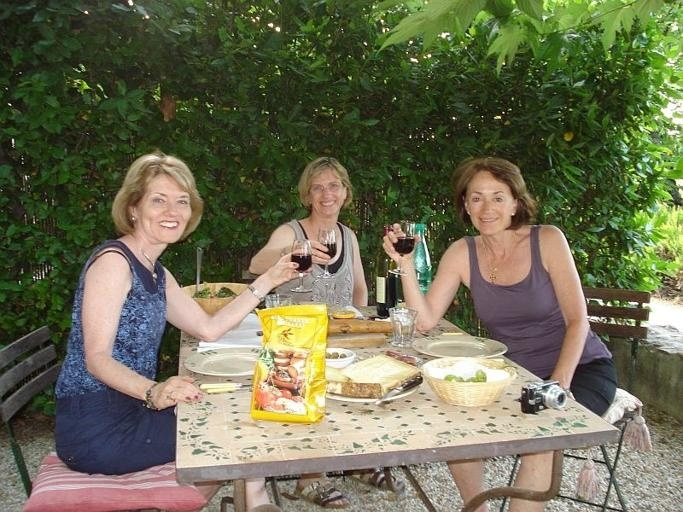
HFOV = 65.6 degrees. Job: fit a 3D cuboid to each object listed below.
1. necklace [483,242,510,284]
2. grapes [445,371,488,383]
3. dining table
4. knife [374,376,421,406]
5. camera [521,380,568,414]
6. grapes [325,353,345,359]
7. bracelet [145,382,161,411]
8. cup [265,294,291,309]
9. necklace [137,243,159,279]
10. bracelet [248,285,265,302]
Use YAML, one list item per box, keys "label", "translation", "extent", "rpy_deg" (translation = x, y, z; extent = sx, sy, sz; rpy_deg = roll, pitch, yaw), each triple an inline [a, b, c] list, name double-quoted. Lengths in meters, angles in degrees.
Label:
- label: "necklace"
  translation: [0.827, 0.032, 2.827]
  extent: [0.107, 0.069, 0.236]
  rpy_deg: [-8, 50, 10]
- label: "grapes"
  translation: [0.417, 0.414, 1.794]
  extent: [0.089, 0.022, 0.067]
  rpy_deg: [-4, 0, 1]
- label: "dining table"
  translation: [0.233, 0.565, 2.053]
  extent: [1.681, 0.267, 0.875]
  rpy_deg: [-1, 12, -8]
- label: "knife"
  translation: [0.220, 0.447, 1.835]
  extent: [0.264, 0.031, 0.055]
  rpy_deg: [-14, 25, -43]
- label: "camera"
  translation: [0.662, 0.462, 1.743]
  extent: [0.153, 0.068, 0.107]
  rpy_deg: [-2, 4, -29]
- label: "grapes"
  translation: [-0.029, 0.399, 2.109]
  extent: [0.063, 0.017, 0.025]
  rpy_deg: [0, 38, 9]
- label: "bracelet"
  translation: [-0.682, 0.503, 1.895]
  extent: [0.058, 0.092, 0.087]
  rpy_deg: [-1, -6, 0]
- label: "cup"
  translation: [-0.296, 0.208, 2.436]
  extent: [0.098, 0.051, 0.080]
  rpy_deg: [3, 4, 25]
- label: "necklace"
  translation: [-0.859, 0.023, 2.371]
  extent: [0.047, 0.167, 0.057]
  rpy_deg: [-32, -2, 34]
- label: "bracelet"
  translation: [-0.395, 0.180, 2.509]
  extent: [0.030, 0.073, 0.074]
  rpy_deg: [-44, 47, -5]
